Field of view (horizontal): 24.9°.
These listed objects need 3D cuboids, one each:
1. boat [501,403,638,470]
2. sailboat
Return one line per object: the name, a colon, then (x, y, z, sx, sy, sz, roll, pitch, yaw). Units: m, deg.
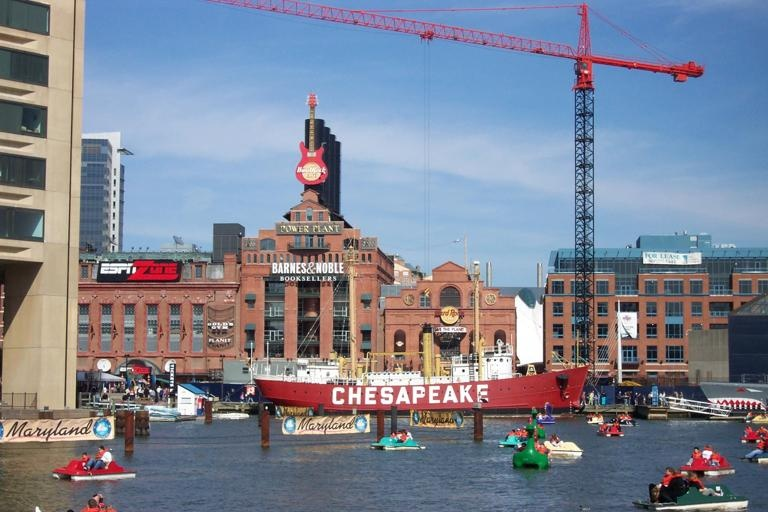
boat: (20.169, 20.653, 197.021, 13.814, 7.303, 4.794, 1, -5, 2)
sailboat: (3.816, 9.503, 220.436, 43.515, 20.253, 10.248, 1, 1, 0)
